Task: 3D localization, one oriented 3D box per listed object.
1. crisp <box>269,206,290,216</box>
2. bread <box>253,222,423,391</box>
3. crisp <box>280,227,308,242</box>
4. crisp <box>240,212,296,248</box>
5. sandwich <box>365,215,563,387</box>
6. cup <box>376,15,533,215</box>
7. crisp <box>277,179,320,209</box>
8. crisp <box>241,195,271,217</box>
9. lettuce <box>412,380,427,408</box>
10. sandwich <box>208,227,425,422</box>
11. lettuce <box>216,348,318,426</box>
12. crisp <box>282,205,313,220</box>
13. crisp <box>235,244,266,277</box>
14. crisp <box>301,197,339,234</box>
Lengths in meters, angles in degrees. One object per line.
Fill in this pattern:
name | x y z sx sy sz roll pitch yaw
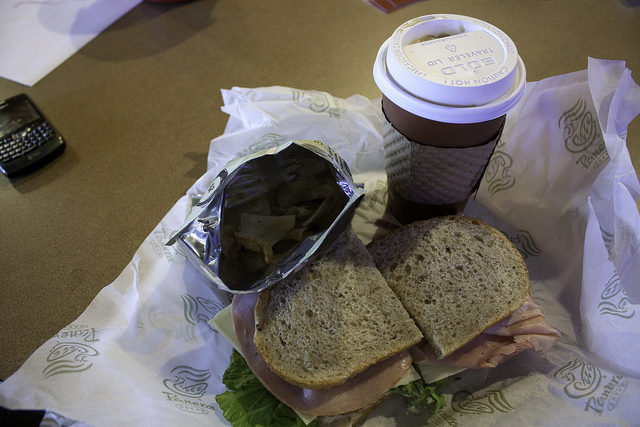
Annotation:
crisp | -0.132 -0.011 1.655 0.037 0.013 0.031 0 67 2
bread | 0.058 0.293 1.582 0.471 0.128 0.459 -27 74 -12
crisp | -0.067 0.057 1.604 0.049 0.019 0.033 -24 52 -32
crisp | -0.153 0.035 1.557 0.129 0.035 0.095 9 82 -5
sandwich | 0.385 0.254 1.593 0.473 0.144 0.542 -19 69 -2
cup | 0.367 -0.288 1.679 0.396 0.493 0.455 36 74 24
crisp | -0.070 -0.069 1.669 0.116 0.031 0.077 -34 70 -7
crisp | -0.188 -0.022 1.644 0.057 0.019 0.061 -10 60 -9
lettuce | 0.287 0.517 1.566 0.017 0.048 0.069 9 52 0
sandwich | 0.022 0.371 1.585 0.506 0.175 0.493 -35 63 -8
lettuce | -0.190 0.540 1.535 0.284 0.073 0.143 38 75 24
crisp | -0.062 -0.009 1.637 0.063 0.024 0.041 -25 55 -27
crisp | -0.202 0.134 1.578 0.083 0.026 0.076 42 83 8
crisp | 0.004 0.015 1.644 0.103 0.035 0.082 -34 23 23
